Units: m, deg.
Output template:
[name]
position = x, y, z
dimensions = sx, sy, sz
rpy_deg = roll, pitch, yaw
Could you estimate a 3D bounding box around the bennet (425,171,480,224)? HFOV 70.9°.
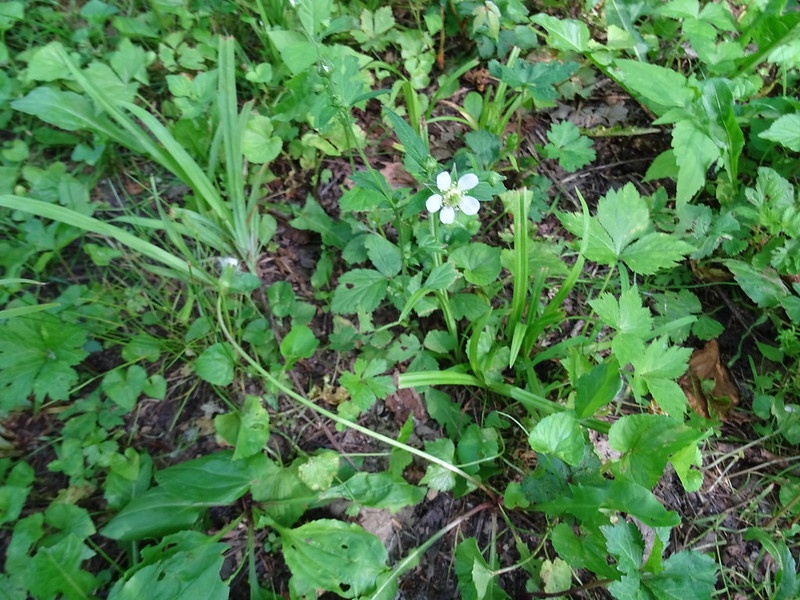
[bennet]
position = 0.188, -0.391, 2.094
dimensions = 0.190, 0.196, 0.080
rpy_deg = 28, 24, -15
